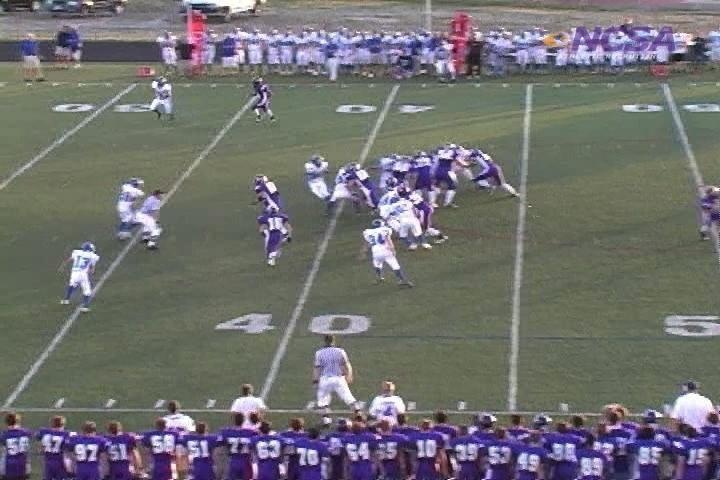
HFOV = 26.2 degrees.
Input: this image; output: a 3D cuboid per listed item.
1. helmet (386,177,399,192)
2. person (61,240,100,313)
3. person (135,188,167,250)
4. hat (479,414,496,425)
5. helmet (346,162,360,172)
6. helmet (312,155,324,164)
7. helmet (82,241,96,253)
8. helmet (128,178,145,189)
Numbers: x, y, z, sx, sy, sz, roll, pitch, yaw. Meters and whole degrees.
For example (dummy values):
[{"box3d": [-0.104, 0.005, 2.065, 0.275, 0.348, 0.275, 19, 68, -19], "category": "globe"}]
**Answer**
[{"box3d": [0.814, -1.359, 38.033, 0.310, 0.345, 0.150, -6, -17, 32], "category": "helmet"}, {"box3d": [-6.265, 0.808, 35.115, 0.820, 1.654, 0.487, 9, -6, 0], "category": "person"}, {"box3d": [-5.057, -0.582, 37.571, 0.686, 1.397, 1.523, -5, 11, -8], "category": "person"}, {"box3d": [2.507, 3.580, 30.482, 0.316, 0.116, 0.393, 2, 8, 6], "category": "hat"}, {"box3d": [-0.121, -1.792, 37.989, 0.293, 0.137, 0.300, 4, 9, 6], "category": "helmet"}, {"box3d": [-1.030, -1.972, 38.590, 0.305, 0.115, 0.286, 0, 15, -3], "category": "helmet"}, {"box3d": [-6.179, 0.170, 35.667, 0.253, 0.251, 0.293, 5, 1, 23], "category": "helmet"}, {"box3d": [-5.319, -1.383, 37.315, 0.404, 0.171, 0.392, -1, 3, -2], "category": "helmet"}]
